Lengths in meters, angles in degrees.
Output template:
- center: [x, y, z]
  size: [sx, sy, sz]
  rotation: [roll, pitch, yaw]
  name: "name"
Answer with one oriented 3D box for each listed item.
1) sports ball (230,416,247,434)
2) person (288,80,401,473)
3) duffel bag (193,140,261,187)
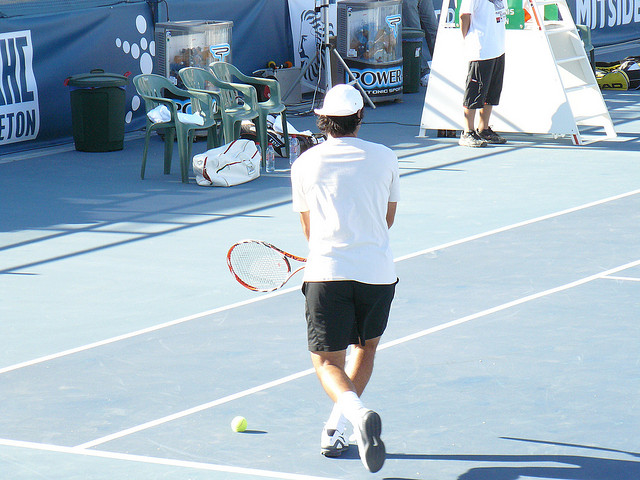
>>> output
- center: [-0.525, 1.174, 5.433]
  size: [0.106, 0.090, 0.103]
  rotation: [8, -22, 3]
  name: "sports ball"
- center: [0.147, 0.072, 4.816]
  size: [0.622, 1.864, 0.876]
  rotation: [-2, 12, 5]
  name: "person"
- center: [-1.210, -1.050, 11.640]
  size: [0.940, 0.591, 0.471]
  rotation: [-9, 13, -30]
  name: "duffel bag"
